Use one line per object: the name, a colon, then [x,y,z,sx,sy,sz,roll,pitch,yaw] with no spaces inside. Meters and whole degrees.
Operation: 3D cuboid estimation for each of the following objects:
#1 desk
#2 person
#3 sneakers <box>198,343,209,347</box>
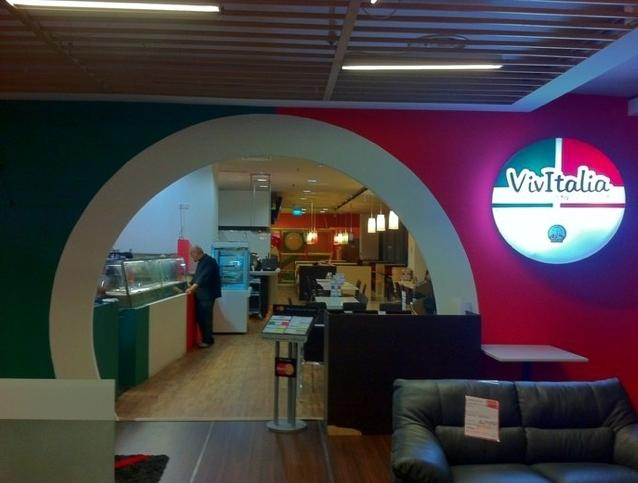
desk: [2.321,1.349,5.796,0.966,0.297,0.713,1,3,-2]
person: [-2.050,0.961,9.201,0.583,1.746,0.628,0,3,-12]
sneakers: [-2.039,1.809,9.107,0.184,0.065,0.150,0,3,-14]
